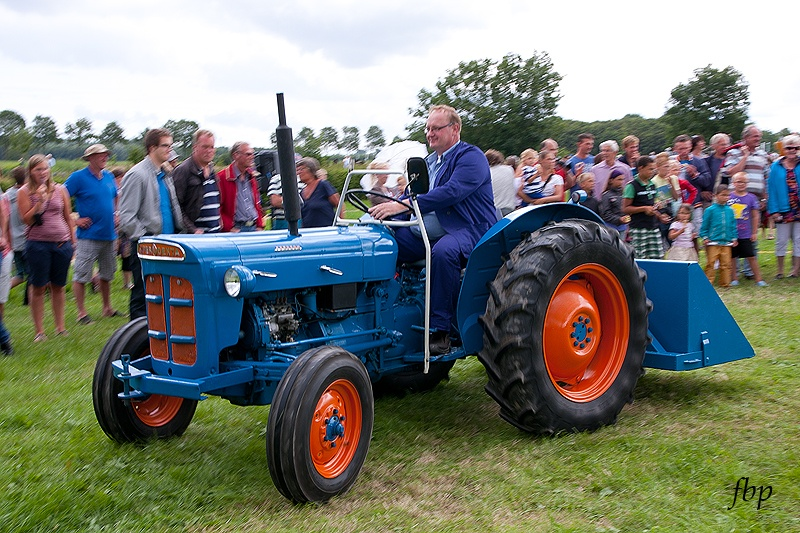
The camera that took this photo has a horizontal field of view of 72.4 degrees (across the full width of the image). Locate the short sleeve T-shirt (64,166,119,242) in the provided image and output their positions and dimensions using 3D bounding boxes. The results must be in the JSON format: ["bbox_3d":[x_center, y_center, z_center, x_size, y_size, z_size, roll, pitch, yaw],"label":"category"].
[{"bbox_3d":[-4.301,-0.934,7.832,0.487,1.014,0.933,12,14,31],"label":"short sleeve T-shirt"}]

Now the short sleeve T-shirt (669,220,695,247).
[{"bbox_3d":[4.408,-0.536,8.677,0.461,0.400,0.253,-4,2,-31],"label":"short sleeve T-shirt"}]

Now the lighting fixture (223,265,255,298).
[{"bbox_3d":[-1.082,0.096,3.649,0.265,0.235,0.200,1,0,42],"label":"lighting fixture"}]

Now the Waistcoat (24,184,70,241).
[{"bbox_3d":[-4.376,-0.674,6.925,0.303,0.706,0.549,4,15,23],"label":"Waistcoat"}]

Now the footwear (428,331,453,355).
[{"bbox_3d":[0.320,0.635,4.495,0.096,0.182,0.269,0,4,-15],"label":"footwear"}]

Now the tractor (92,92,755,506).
[{"bbox_3d":[0.427,0.125,5.422,5.657,2.650,2.901,-2,1,-40],"label":"tractor"}]

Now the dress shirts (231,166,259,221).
[{"bbox_3d":[-2.061,-0.916,7.348,0.439,0.536,0.194,-1,3,-22],"label":"dress shirts"}]

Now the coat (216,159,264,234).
[{"bbox_3d":[-2.032,-0.885,7.069,0.609,0.722,0.406,-9,10,-25],"label":"coat"}]

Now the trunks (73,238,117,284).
[{"bbox_3d":[-4.332,-0.094,7.795,0.296,0.678,0.747,3,2,20],"label":"trunks"}]

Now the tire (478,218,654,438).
[{"bbox_3d":[1.284,0.505,4.381,1.964,1.848,0.619,1,-1,-35],"label":"tire"}]

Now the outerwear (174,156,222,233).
[{"bbox_3d":[-2.411,-0.841,6.559,0.452,1.024,0.760,8,19,11],"label":"outerwear"}]

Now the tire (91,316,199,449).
[{"bbox_3d":[-1.864,0.888,4.054,0.328,0.871,0.802,8,26,29],"label":"tire"}]
